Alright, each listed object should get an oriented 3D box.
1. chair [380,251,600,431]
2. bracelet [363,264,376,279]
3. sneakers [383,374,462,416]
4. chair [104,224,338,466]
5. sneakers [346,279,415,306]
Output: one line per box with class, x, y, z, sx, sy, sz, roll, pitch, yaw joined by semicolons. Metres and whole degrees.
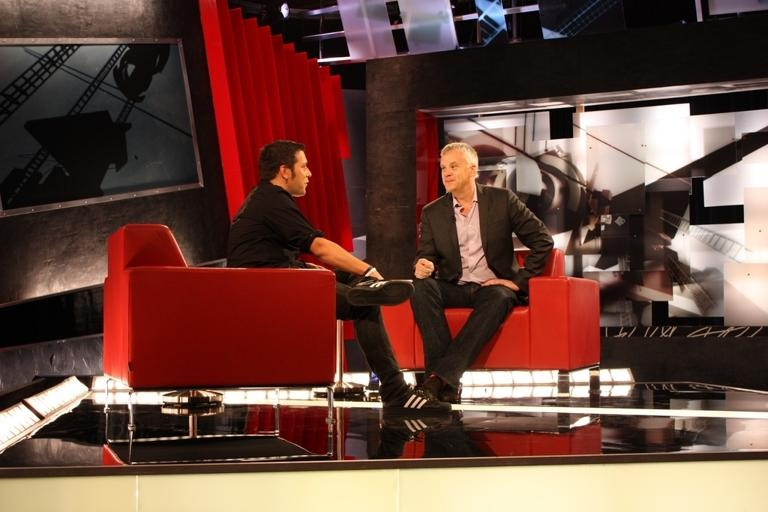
chair;0.870;0.475;5.096;1.405;1.026;0.806;-6;2;39
bracelet;-0.073;0.083;3.883;0.052;0.066;0.026;30;-8;6
sneakers;0.223;0.813;4.013;0.531;0.182;0.167;-3;4;0
chair;-1.022;0.491;4.004;1.203;1.109;1.065;5;-4;-31
sneakers;-0.017;0.200;3.695;0.393;0.130;0.167;-1;1;11
